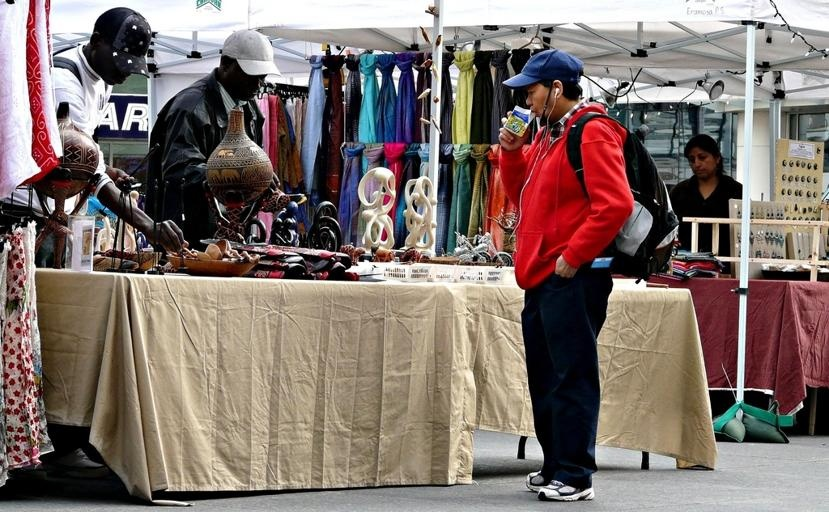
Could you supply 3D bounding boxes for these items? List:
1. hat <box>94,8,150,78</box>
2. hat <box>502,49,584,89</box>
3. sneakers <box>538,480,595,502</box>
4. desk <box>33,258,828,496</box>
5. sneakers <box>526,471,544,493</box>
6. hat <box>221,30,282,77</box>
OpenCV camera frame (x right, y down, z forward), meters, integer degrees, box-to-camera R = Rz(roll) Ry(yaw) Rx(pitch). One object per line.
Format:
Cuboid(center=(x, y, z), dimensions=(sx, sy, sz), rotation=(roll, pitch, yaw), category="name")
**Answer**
Cuboid(center=(-1.706, -1.249, 6.019), dimensions=(0.308, 0.312, 0.218), rotation=(2, 0, -19), category="hat")
Cuboid(center=(0.756, -1.047, 5.905), dimensions=(0.354, 0.155, 0.226), rotation=(-4, 9, 0), category="hat")
Cuboid(center=(0.845, 1.289, 5.757), dimensions=(0.288, 0.134, 0.112), rotation=(6, -7, -16), category="sneakers")
Cuboid(center=(-0.297, 0.685, 5.816), dimensions=(2.669, 0.746, 1.556), rotation=(1, -2, -37), category="desk")
Cuboid(center=(0.691, 1.283, 5.922), dimensions=(0.070, 0.091, 0.130), rotation=(2, 7, -2), category="sneakers")
Cuboid(center=(-1.011, -1.256, 6.412), dimensions=(0.352, 0.183, 0.241), rotation=(22, 21, 38), category="hat")
